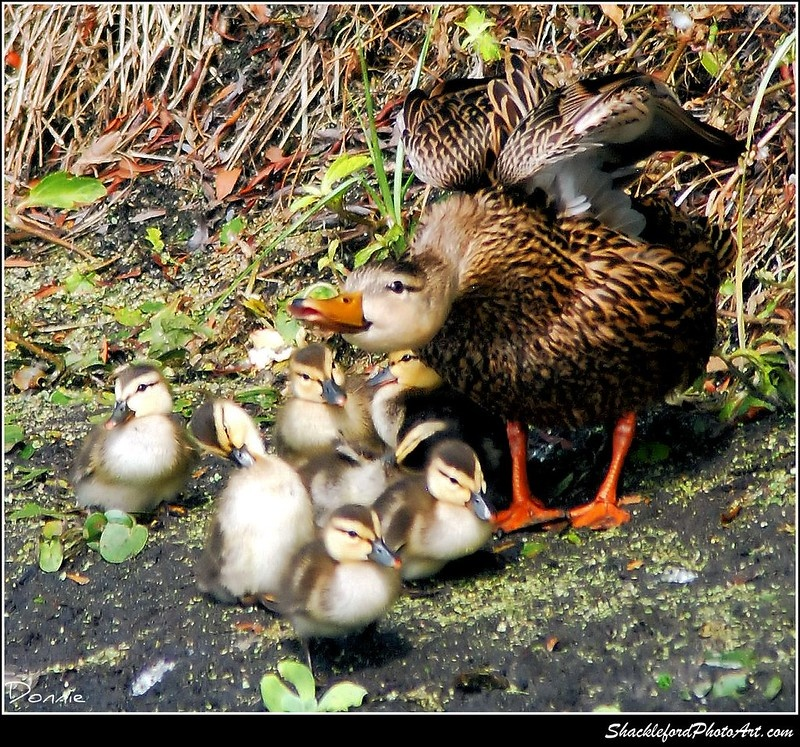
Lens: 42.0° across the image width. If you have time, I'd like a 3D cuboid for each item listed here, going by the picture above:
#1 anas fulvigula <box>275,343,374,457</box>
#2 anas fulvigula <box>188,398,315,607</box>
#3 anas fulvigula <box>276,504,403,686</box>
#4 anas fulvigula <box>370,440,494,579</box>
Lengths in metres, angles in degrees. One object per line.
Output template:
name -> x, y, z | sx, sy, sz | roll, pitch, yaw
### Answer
anas fulvigula -> -0.312, 0.102, 3.922 | 0.313, 0.329, 0.457 | -28, 28, -2
anas fulvigula -> -0.510, 0.453, 3.505 | 0.423, 0.473, 0.638 | -12, 35, -7
anas fulvigula -> -0.219, 0.654, 3.405 | 0.402, 0.493, 0.551 | -2, 13, -36
anas fulvigula -> 0.103, 0.454, 3.523 | 0.457, 0.363, 0.352 | 4, 10, 41
